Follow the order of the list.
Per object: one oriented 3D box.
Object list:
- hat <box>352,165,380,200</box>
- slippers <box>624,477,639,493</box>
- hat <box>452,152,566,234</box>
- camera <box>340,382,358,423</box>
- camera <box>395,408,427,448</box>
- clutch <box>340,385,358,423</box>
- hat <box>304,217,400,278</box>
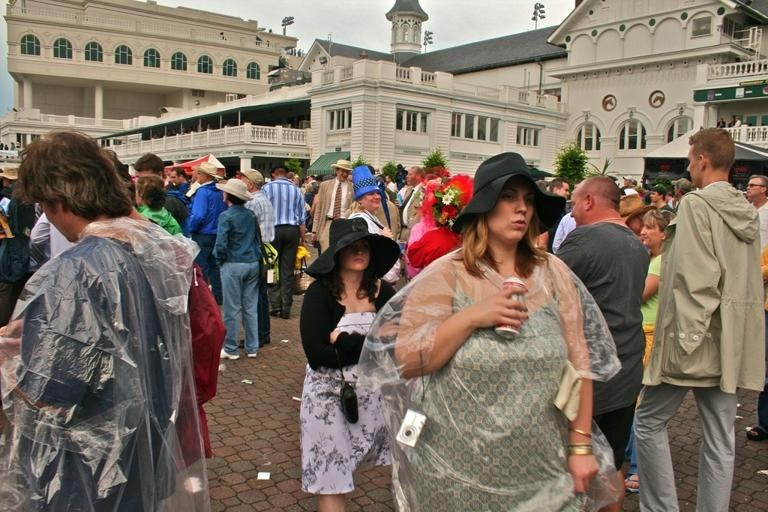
[{"bbox_3d":[-0.201,-0.927,9.413,0.312,0.312,0.343,-16,13,3],"label":"hat"},{"bbox_3d":[2.082,1.908,6.537,0.101,0.101,0.129,5,13,16],"label":"slippers"},{"bbox_3d":[0.725,-0.422,4.819,0.683,0.380,0.609,-20,-16,27],"label":"hat"},{"bbox_3d":[-0.232,1.017,5.437,0.159,0.247,0.251,-4,20,-2],"label":"camera"},{"bbox_3d":[0.159,0.998,4.542,0.155,0.205,0.065,17,-7,24],"label":"camera"},{"bbox_3d":[-0.241,1.025,5.465,0.135,0.291,0.139,2,13,1],"label":"clutch"},{"bbox_3d":[-0.196,-0.066,5.827,0.478,0.271,0.530,-20,-18,2],"label":"hat"}]
